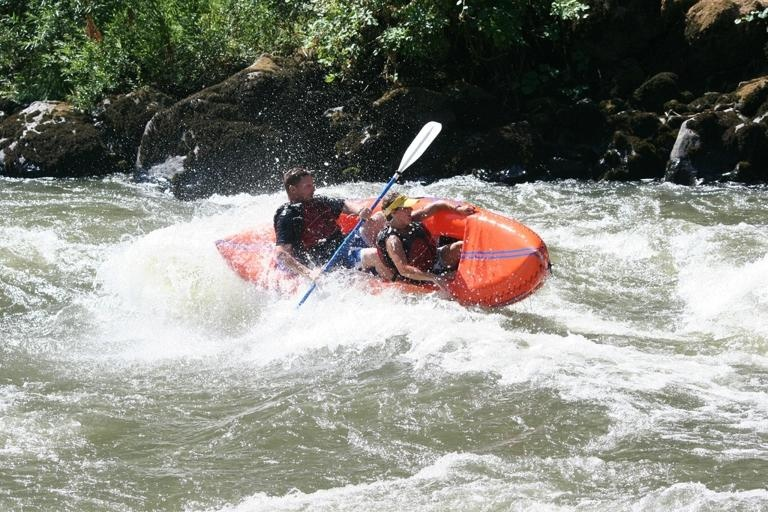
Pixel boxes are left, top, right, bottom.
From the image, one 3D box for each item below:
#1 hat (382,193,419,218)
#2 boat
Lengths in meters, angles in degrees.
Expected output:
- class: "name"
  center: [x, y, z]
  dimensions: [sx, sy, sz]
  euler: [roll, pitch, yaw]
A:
- class: "hat"
  center: [0.211, -0.803, 19.857]
  dimensions: [0.462, 0.188, 0.304]
  euler: [-22, 4, 12]
- class: "boat"
  center: [0.073, -0.026, 20.051]
  dimensions: [4.354, 0.700, 2.027]
  euler: [-4, 34, 11]
